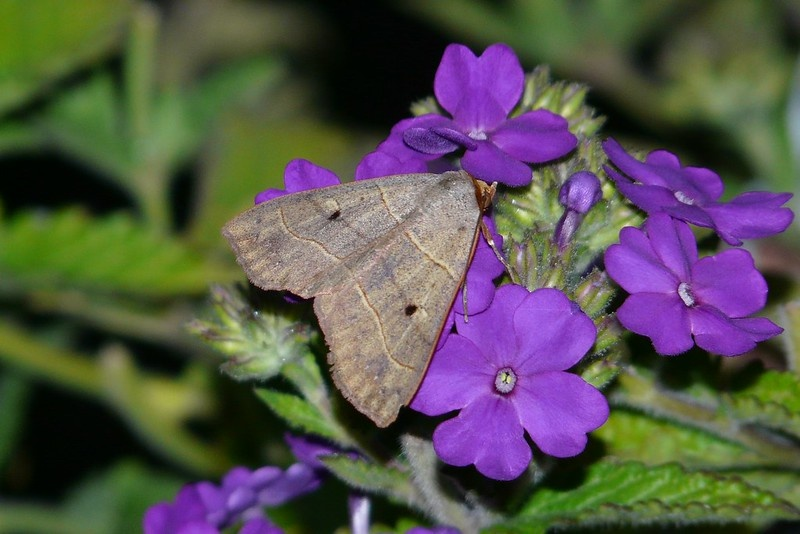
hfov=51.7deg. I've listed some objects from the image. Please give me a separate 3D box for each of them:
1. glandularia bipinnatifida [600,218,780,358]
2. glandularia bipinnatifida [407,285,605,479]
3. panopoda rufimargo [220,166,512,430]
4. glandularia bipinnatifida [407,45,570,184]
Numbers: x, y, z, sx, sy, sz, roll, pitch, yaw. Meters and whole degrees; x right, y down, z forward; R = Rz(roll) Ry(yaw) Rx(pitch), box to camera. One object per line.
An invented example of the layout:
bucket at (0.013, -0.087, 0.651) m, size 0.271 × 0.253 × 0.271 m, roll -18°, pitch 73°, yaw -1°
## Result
glandularia bipinnatifida at (1.144, 0.088, 3.261) m, size 0.683 × 0.222 × 0.743 m, roll -8°, pitch 49°, yaw -2°
glandularia bipinnatifida at (0.426, 0.350, 3.315) m, size 0.741 × 0.718 × 0.704 m, roll -1°, pitch 18°, yaw 6°
panopoda rufimargo at (-0.015, -0.060, 3.320) m, size 1.099 × 0.313 × 1.091 m, roll -38°, pitch 60°, yaw -19°
glandularia bipinnatifida at (0.325, -0.591, 3.439) m, size 0.596 × 0.658 × 0.232 m, roll -18°, pitch -15°, yaw -10°
